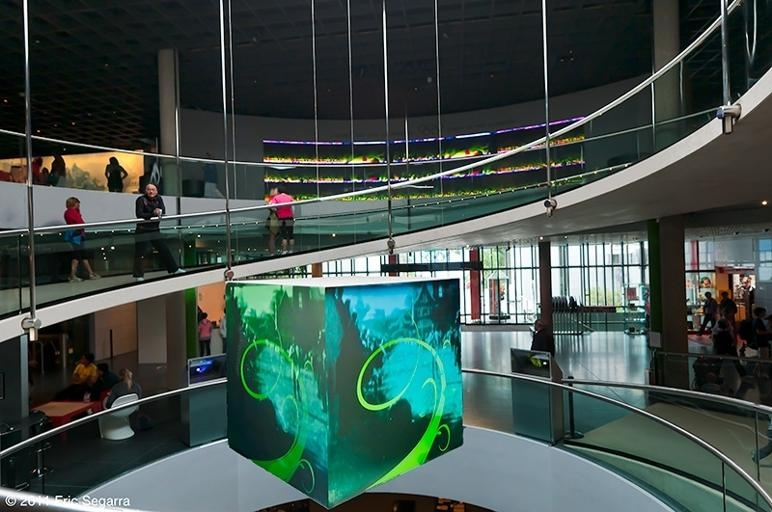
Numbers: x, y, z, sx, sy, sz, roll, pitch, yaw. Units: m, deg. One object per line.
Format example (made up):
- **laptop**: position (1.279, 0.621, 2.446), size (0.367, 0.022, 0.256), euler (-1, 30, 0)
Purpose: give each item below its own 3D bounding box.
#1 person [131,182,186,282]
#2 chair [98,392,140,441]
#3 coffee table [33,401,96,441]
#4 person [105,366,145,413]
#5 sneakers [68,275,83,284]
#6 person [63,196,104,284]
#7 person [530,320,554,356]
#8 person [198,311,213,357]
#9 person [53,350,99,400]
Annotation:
- **person**: position (-4.163, -0.462, 11.743), size (0.708, 1.357, 1.041), euler (-2, 1, -19)
- **chair**: position (-4.353, 2.562, 10.685), size (0.646, 0.764, 0.536), euler (11, 5, 43)
- **coffee table**: position (-5.964, 2.944, 12.198), size (0.940, 0.374, 1.663), euler (-3, 1, -37)
- **person**: position (-4.683, 2.373, 11.720), size (0.522, 0.846, 0.507), euler (-7, 29, -36)
- **sneakers**: position (-4.974, 0.375, 10.442), size (0.033, 0.108, 0.193), euler (-1, 1, 31)
- **person**: position (-5.319, -0.350, 11.366), size (0.753, 1.219, 1.931), euler (-2, 1, -33)
- **person**: position (3.314, 1.734, 13.831), size (0.387, 0.725, 0.707), euler (-1, 1, 17)
- **person**: position (-4.740, 2.055, 17.096), size (0.347, 0.843, 0.777), euler (-2, 1, -17)
- **person**: position (-6.343, 2.570, 13.462), size (0.526, 0.966, 0.875), euler (6, 5, 12)
